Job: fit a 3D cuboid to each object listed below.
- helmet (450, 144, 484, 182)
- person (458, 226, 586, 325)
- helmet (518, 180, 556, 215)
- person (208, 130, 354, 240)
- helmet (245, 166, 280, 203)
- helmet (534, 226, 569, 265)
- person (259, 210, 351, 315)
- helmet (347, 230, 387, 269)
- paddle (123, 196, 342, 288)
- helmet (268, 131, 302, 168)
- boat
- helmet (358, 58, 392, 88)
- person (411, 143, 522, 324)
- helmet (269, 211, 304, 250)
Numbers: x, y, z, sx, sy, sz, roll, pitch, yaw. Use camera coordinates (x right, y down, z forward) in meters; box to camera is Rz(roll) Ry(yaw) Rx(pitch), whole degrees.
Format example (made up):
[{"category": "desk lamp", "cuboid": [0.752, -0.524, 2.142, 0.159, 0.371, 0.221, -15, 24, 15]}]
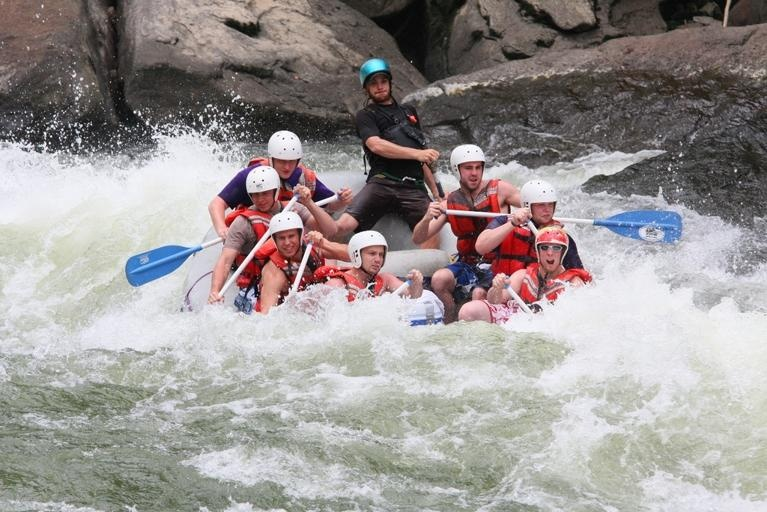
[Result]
[{"category": "helmet", "cuboid": [0.778, -0.893, 7.723, 0.376, 0.287, 0.313, -4, 5, 34]}, {"category": "person", "cuboid": [1.238, 0.278, 6.789, 0.845, 0.904, 1.282, 4, 9, 34]}, {"category": "helmet", "cuboid": [1.406, -0.552, 7.326, 0.236, 0.252, 0.276, -11, 14, -40]}, {"category": "person", "cuboid": [-1.087, -0.702, 8.226, 1.225, 1.463, 0.876, -3, 29, -33]}, {"category": "helmet", "cuboid": [-1.088, -0.677, 7.317, 0.236, 0.274, 0.286, -2, 4, 5]}, {"category": "helmet", "cuboid": [1.437, -0.106, 6.947, 0.290, 0.302, 0.336, 2, 6, 1]}, {"category": "person", "cuboid": [-0.710, 0.076, 7.078, 0.349, 0.950, 0.695, 23, 24, 25]}, {"category": "helmet", "cuboid": [-0.171, -0.068, 7.017, 0.268, 0.265, 0.350, 3, -8, -40]}, {"category": "paddle", "cuboid": [-1.356, -0.108, 7.593, 2.112, 0.291, 0.158, -21, -15, -2]}, {"category": "helmet", "cuboid": [-0.932, -1.034, 7.743, 0.275, 0.275, 0.294, -3, 15, -17]}, {"category": "boat", "cuboid": [-0.669, -0.005, 7.749, 2.121, 0.681, 1.514, -8, 45, -8]}, {"category": "helmet", "cuboid": [-0.100, -1.919, 8.204, 0.299, 0.393, 0.295, -3, 22, -11]}, {"category": "person", "cuboid": [0.787, -0.046, 7.671, 1.205, 1.938, 0.893, 5, -4, -17]}, {"category": "helmet", "cuboid": [-0.839, -0.240, 7.176, 0.237, 0.268, 0.297, -4, -10, -1]}]
